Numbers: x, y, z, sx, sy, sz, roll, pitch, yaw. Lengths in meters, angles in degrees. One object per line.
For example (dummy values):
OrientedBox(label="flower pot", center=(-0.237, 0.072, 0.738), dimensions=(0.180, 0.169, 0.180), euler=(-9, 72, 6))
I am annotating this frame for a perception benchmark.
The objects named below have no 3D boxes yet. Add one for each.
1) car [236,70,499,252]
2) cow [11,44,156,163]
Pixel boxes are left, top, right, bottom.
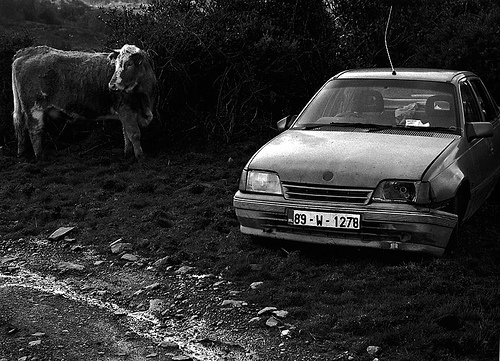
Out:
OrientedBox(label="car", center=(1.846, -0.329, 6.469), dimensions=(2.035, 1.274, 3.136), euler=(3, 10, 27))
OrientedBox(label="cow", center=(-3.235, -1.592, 10.855), dimensions=(3.509, 2.328, 1.234), euler=(1, 7, 6))
